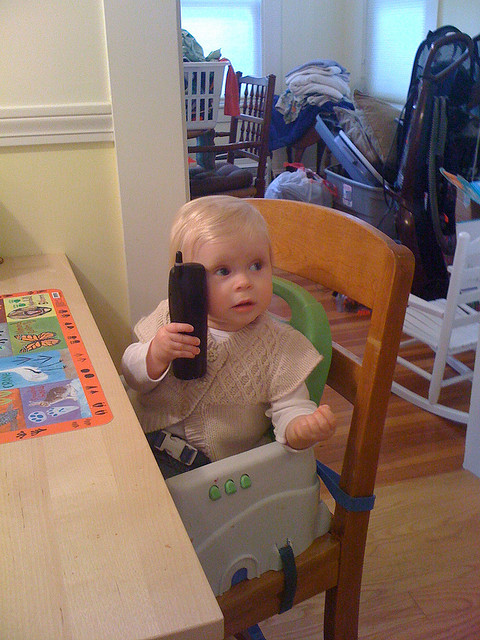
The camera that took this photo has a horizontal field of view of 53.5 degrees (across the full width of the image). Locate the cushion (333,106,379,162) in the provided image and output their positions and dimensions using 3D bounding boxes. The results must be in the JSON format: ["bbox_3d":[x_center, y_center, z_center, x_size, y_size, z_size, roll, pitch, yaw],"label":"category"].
[{"bbox_3d":[0.766,-1.178,3.170,0.093,0.358,0.348,-29,-22,15],"label":"cushion"}]

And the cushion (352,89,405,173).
[{"bbox_3d":[0.841,-1.219,2.985,0.288,0.463,0.250,7,12,10],"label":"cushion"}]

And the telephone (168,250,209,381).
[{"bbox_3d":[-0.061,0.005,0.564,0.048,0.149,0.050,4,12,-5],"label":"telephone"}]

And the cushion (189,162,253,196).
[{"bbox_3d":[-0.112,-0.807,2.720,0.314,0.101,0.335,-9,30,-12],"label":"cushion"}]
